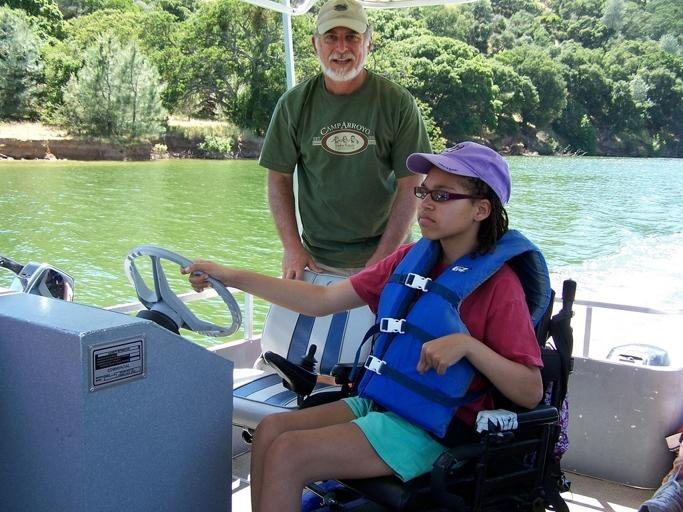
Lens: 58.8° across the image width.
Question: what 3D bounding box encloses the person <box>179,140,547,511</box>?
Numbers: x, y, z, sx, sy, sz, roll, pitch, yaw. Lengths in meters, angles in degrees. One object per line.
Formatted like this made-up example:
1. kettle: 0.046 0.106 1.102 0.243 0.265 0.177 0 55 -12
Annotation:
1. person: 0.149 0.198 2.055 0.911 1.170 0.660 0 13 -13

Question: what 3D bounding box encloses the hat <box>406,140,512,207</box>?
1. hat: 0.470 -0.227 2.214 0.333 0.256 0.549 0 -5 15

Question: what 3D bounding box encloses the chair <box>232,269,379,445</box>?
1. chair: -0.263 0.629 3.194 0.859 0.984 0.847 -2 1 10
